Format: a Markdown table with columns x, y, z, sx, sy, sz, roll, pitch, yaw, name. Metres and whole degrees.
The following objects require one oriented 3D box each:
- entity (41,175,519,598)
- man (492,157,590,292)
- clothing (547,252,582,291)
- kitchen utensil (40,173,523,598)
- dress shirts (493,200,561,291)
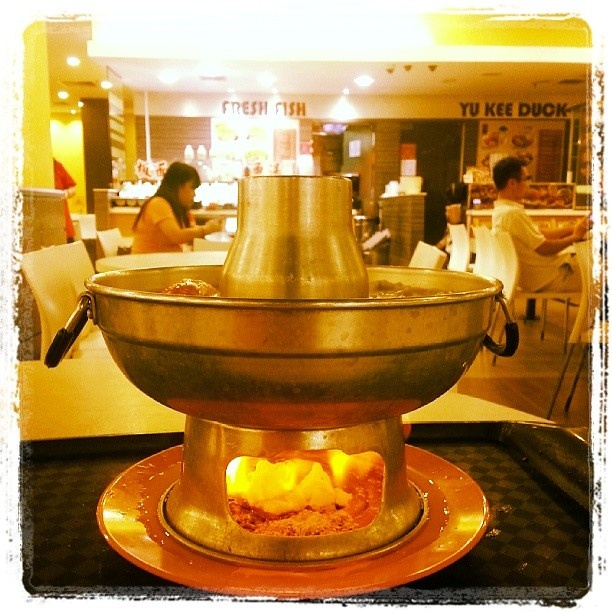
| x | y | z | sx | sy | sz | roll | pitch | yaw | name |
| --- | --- | --- | --- | --- | --- | --- | --- | --- | --- |
| -0.006 | 0.124 | 0.613 | 0.425 | 0.385 | 0.416 | 1 | 2 | -2 | entity |
| 2.077 | -0.491 | 4.955 | 0.778 | 1.623 | 0.658 | -2 | 8 | 5 | man |
| 2.128 | -0.314 | 4.677 | 0.270 | 0.318 | 0.089 | 6 | 8 | -16 | clothing |
| -0.010 | 0.051 | 0.665 | 0.426 | 0.411 | 0.412 | -5 | 7 | -28 | kitchen utensil |
| 1.934 | -0.550 | 4.891 | 0.402 | 0.797 | 0.673 | -17 | 14 | 4 | dress shirts |
